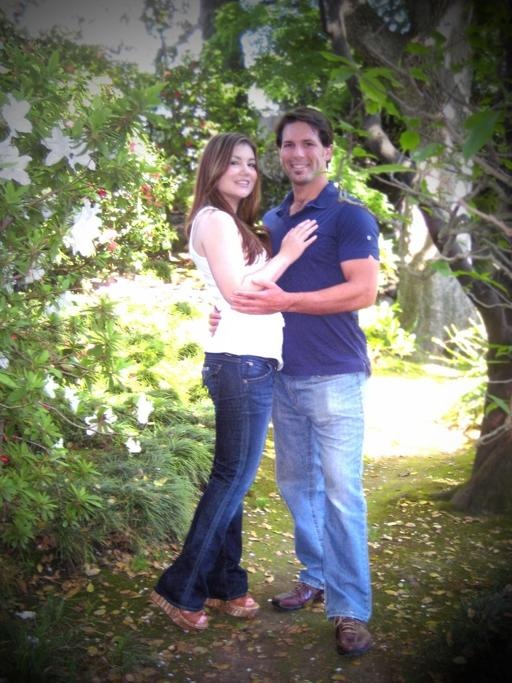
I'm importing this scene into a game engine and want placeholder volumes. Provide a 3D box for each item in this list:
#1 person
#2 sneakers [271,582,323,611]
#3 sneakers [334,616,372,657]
[{"bbox_3d":[0.271,0.108,2.609,0.588,2.391,0.683,3,3,11],"label":"person"},{"bbox_3d":[0.206,1.253,2.886,0.284,0.103,0.097,2,-1,-37],"label":"sneakers"},{"bbox_3d":[0.398,1.221,2.406,0.133,0.114,0.105,2,2,4],"label":"sneakers"}]
